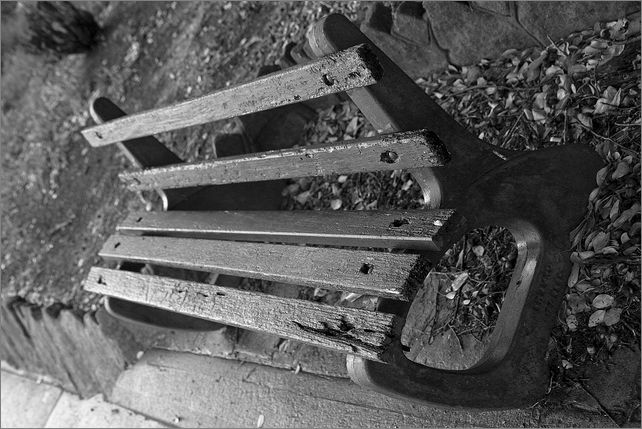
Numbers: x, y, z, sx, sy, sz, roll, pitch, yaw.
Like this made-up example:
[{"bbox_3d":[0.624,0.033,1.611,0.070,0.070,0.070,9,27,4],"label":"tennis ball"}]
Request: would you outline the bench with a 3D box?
[{"bbox_3d":[-0.267,0.079,2.893,1.981,1.221,1.161,8,37,35],"label":"bench"}]
